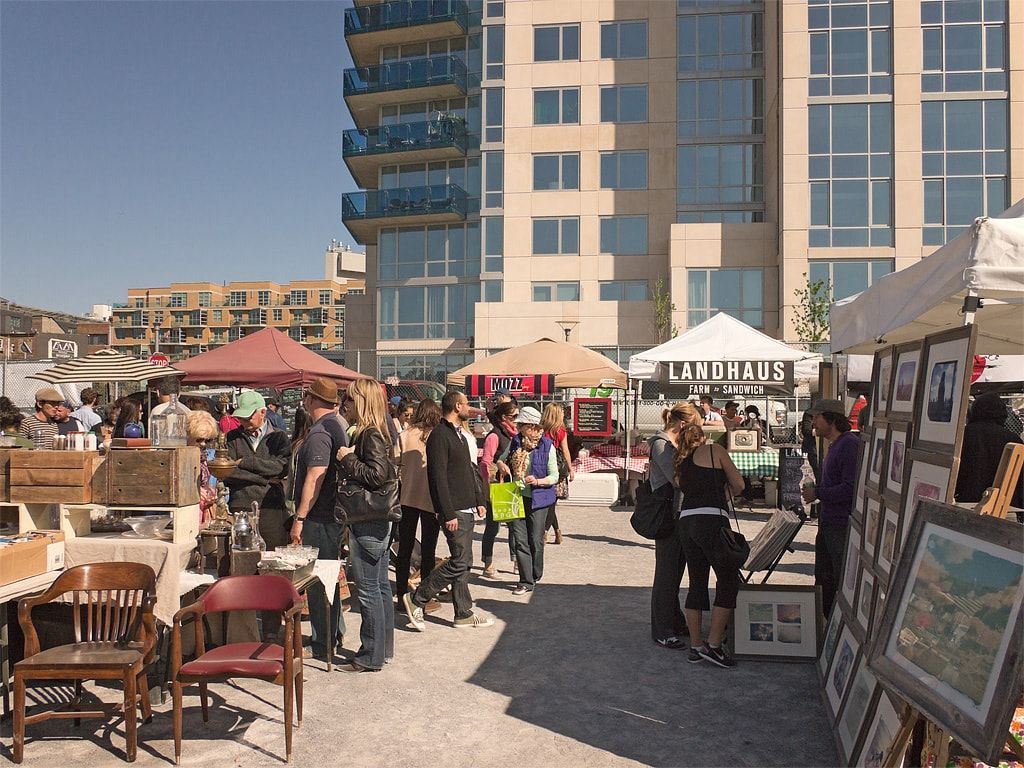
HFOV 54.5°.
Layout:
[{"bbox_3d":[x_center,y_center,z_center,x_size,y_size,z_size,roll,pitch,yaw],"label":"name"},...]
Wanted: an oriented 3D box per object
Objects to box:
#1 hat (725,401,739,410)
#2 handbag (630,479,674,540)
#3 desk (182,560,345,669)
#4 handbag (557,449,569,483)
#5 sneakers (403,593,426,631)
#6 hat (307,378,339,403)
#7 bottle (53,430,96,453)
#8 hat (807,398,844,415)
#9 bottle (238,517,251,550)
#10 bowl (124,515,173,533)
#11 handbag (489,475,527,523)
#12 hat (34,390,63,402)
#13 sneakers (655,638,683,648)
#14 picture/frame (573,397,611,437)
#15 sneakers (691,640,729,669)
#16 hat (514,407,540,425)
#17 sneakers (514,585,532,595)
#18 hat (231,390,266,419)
[{"bbox_3d":[4.342,0.453,19.609,0.185,0.096,0.249,-11,-14,44],"label":"hat"},{"bbox_3d":[1.350,1.219,9.529,0.403,0.557,0.185,2,3,30],"label":"handbag"},{"bbox_3d":[-1.888,1.932,8.257,1.007,0.640,1.057,-2,-5,4],"label":"desk"},{"bbox_3d":[0.743,1.252,14.480,0.185,0.490,0.355,-5,13,1],"label":"handbag"},{"bbox_3d":[-0.998,2.313,10.125,0.163,0.423,0.152,-22,-14,30],"label":"sneakers"},{"bbox_3d":[-1.701,0.039,8.966,0.219,0.098,0.251,21,8,-43],"label":"hat"},{"bbox_3d":[-3.599,0.497,8.300,0.340,0.246,0.191,-1,-1,0],"label":"bottle"},{"bbox_3d":[3.027,0.236,9.547,0.267,0.132,0.201,0,-4,5],"label":"hat"},{"bbox_3d":[-2.217,1.232,8.278,0.161,0.274,0.217,-1,3,-15],"label":"bottle"},{"bbox_3d":[-2.987,1.179,8.276,0.215,0.079,0.218,-2,-7,0],"label":"bowl"},{"bbox_3d":[-0.048,1.367,11.405,0.403,0.447,0.551,0,3,1],"label":"handbag"},{"bbox_3d":[-5.649,0.183,12.170,0.220,0.118,0.172,-6,-1,10],"label":"hat"},{"bbox_3d":[1.495,2.427,9.405,0.223,0.096,0.087,-2,6,9],"label":"sneakers"},{"bbox_3d":[1.708,0.717,20.865,0.957,0.931,0.704,1,2,12],"label":"picture/frame"},{"bbox_3d":[1.787,2.417,8.933,0.379,0.163,0.217,1,3,21],"label":"sneakers"},{"bbox_3d":[0.221,0.423,12.264,0.206,0.126,0.231,3,0,34],"label":"hat"},{"bbox_3d":[0.133,2.361,11.454,0.207,0.103,0.291,0,3,5],"label":"sneakers"},{"bbox_3d":[-2.894,0.270,11.006,0.316,0.304,0.568,-1,3,-16],"label":"hat"}]
